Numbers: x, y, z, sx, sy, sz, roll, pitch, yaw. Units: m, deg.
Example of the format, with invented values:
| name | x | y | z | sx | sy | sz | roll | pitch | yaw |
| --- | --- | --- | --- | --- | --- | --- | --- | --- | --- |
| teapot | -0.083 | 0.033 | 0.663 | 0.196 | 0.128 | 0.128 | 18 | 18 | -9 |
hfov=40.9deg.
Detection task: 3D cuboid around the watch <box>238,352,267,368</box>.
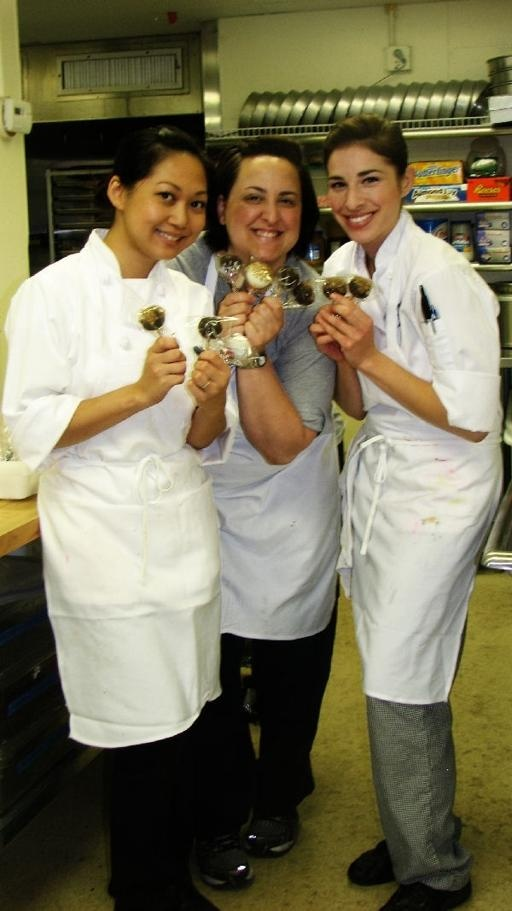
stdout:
| name | x | y | z | sx | sy | sz | roll | pitch | yaw |
| --- | --- | --- | --- | --- | --- | --- | --- | --- | --- |
| watch | -0.005 | -0.166 | 1.198 | 0.029 | 0.015 | 0.034 | -13 | -4 | -2 |
